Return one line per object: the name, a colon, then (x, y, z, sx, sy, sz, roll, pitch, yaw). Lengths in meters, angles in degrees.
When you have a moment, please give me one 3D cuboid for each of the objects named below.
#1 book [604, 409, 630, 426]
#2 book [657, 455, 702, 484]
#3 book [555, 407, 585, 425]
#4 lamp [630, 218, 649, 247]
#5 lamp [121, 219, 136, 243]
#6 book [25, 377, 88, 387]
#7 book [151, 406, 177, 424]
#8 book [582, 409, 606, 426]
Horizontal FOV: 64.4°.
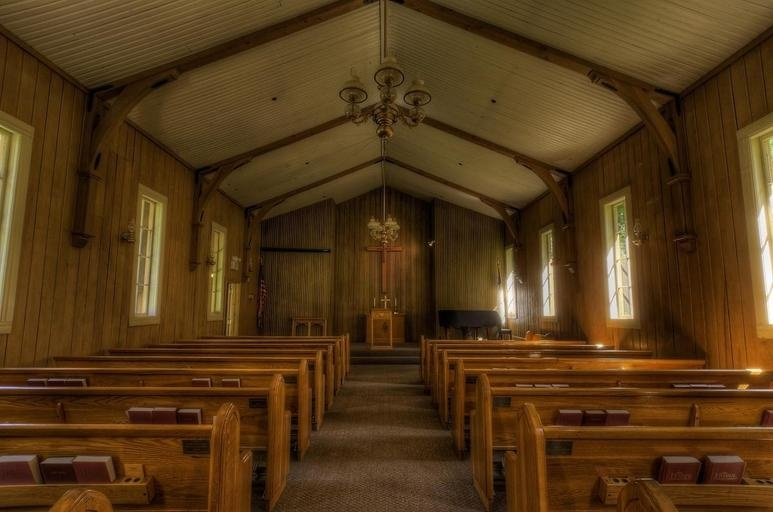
book: (2.054, 1.450, 5.456, 0.235, 0.152, 0.128, 0, -10, 0)
book: (2.327, 1.714, 4.849, 0.344, 0.248, 0.202, -1, -3, 10)
book: (1.648, 1.392, 5.492, 0.240, 0.167, 0.132, -1, -9, 7)
lamp: (3.536, -0.326, 8.635, 0.135, 0.397, 0.408, 0, 7, -2)
lamp: (-3.546, -0.337, 8.492, 0.140, 0.342, 0.322, 0, 7, 5)
book: (-3.238, 1.257, 6.052, 0.473, 0.080, 0.093, 0, -20, -11)
book: (-1.944, 1.400, 5.359, 0.188, 0.099, 0.138, 1, 0, 3)
book: (1.858, 1.456, 5.478, 0.148, 0.092, 0.150, 0, -10, 3)
